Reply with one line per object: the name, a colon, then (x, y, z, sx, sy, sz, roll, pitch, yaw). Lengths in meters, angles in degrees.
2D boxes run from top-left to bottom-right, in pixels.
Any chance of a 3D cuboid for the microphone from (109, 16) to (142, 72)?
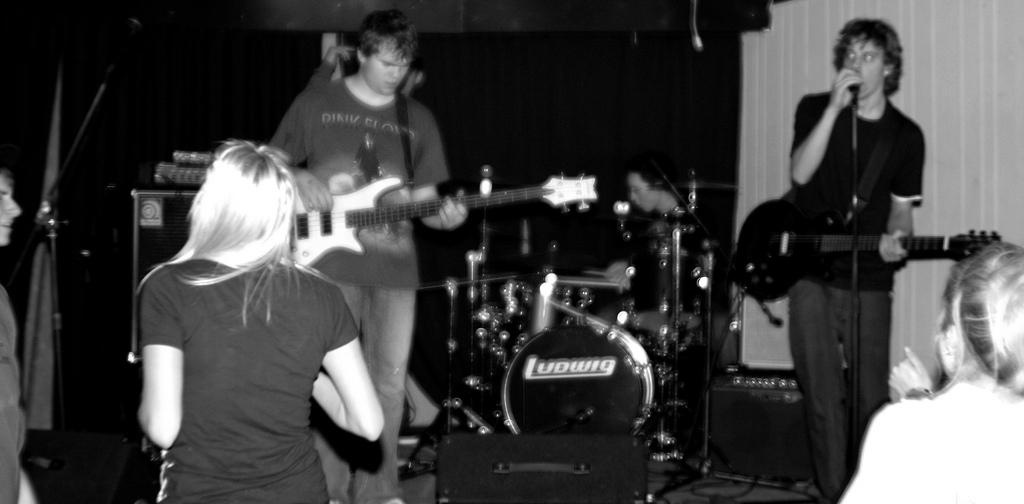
microphone: (-3.172, -1.724, 10.210, 0.263, 0.427, 0.162, 1, 2, -18)
